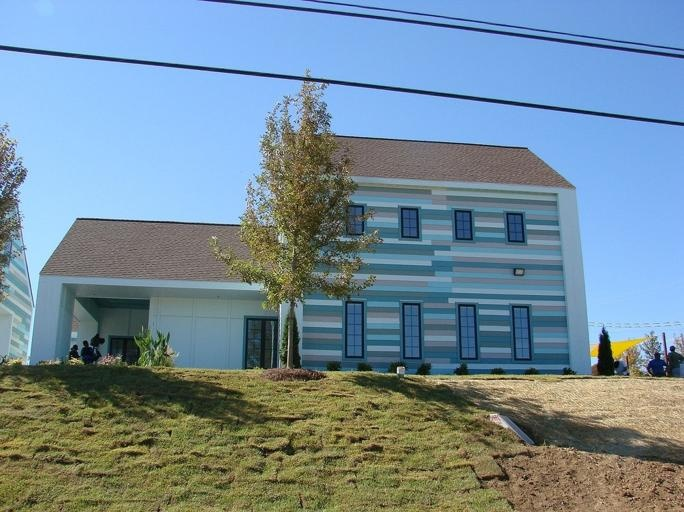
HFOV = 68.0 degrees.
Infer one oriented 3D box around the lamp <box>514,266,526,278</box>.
[{"bbox_3d":[8.048,0.768,22.992,0.709,0.549,0.361,1,-6,-9],"label":"lamp"}]
